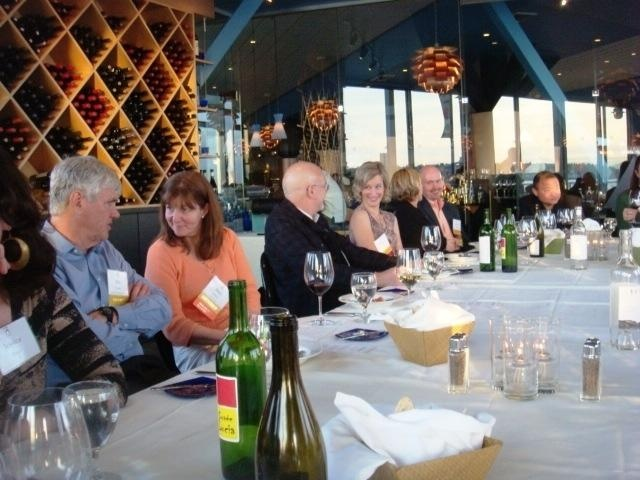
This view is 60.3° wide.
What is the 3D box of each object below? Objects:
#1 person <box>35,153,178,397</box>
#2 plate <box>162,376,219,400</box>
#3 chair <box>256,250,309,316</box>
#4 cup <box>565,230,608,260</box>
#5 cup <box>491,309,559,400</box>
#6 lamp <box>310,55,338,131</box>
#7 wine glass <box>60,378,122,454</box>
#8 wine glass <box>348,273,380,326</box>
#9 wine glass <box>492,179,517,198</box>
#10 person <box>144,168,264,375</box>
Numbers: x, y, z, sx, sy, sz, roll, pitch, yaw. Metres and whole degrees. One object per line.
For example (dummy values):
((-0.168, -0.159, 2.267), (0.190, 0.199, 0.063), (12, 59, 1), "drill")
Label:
((-1.058, 0.154, 2.580), (0.540, 1.041, 0.472), (-7, 21, -42), "person")
((-0.325, 0.380, 1.409), (0.074, 0.015, 0.059), (-4, 15, -25), "plate")
((-0.255, 0.237, 3.225), (0.253, 0.490, 0.267), (2, 5, 22), "chair")
((1.559, 0.034, 3.232), (0.148, 0.175, 0.152), (0, -3, 0), "cup")
((0.478, 0.263, 1.363), (0.157, 0.222, 0.178), (0, 3, 15), "cup")
((0.055, -2.010, 7.765), (0.373, 0.934, 0.413), (-5, -7, -8), "lamp")
((-0.453, 0.382, 1.103), (0.099, 0.175, 0.105), (-2, 2, -39), "wine glass")
((0.162, 0.203, 2.025), (0.099, 0.205, 0.101), (9, 22, 34), "wine glass")
((2.746, -0.741, 8.175), (0.250, 0.305, 0.260), (-3, -5, 25), "wine glass")
((-0.538, 0.172, 2.647), (0.506, 0.992, 0.520), (-8, 11, -30), "person")
